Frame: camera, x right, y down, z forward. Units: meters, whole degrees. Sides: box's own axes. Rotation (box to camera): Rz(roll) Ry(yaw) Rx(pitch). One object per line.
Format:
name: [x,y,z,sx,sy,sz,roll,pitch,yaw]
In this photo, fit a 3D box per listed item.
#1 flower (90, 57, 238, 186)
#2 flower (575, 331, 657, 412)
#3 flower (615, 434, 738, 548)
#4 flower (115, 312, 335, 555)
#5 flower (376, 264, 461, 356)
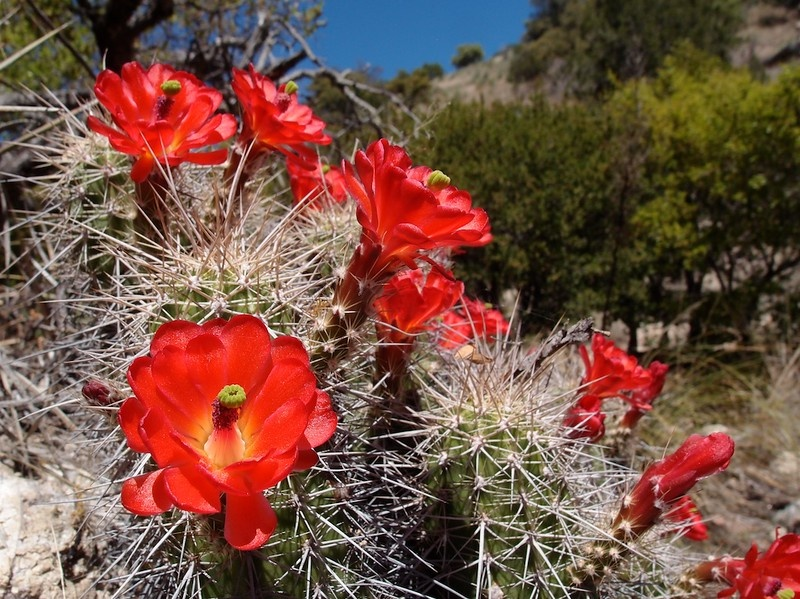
flower: [-0.713,-0.558,2.335,0.323,0.221,0.328,9,21,-4]
flower: [0.688,0.237,2.489,0.258,0.197,0.265,-3,13,-15]
flower: [0.798,0.543,2.262,0.208,0.425,0.140,-8,45,-34]
flower: [-0.556,0.345,2.033,0.262,0.520,0.547,-7,75,-40]
flower: [0.043,0.008,2.341,0.214,0.214,0.235,6,22,39]
